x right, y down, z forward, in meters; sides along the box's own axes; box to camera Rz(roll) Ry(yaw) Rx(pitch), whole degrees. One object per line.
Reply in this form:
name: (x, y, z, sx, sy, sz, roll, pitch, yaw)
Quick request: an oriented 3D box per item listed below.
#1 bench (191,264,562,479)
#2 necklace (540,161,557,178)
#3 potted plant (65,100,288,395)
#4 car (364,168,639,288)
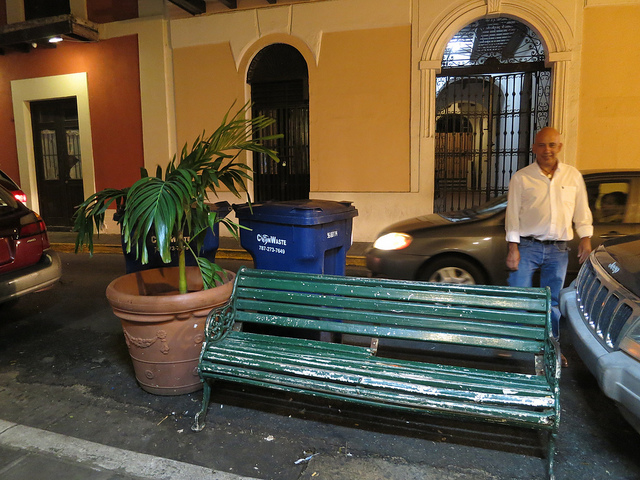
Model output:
bench: (0.472, 1.063, 4.550, 2.820, 1.422, 0.685, 2, 11, 12)
necklace: (2.280, -0.696, 5.348, 0.142, 0.149, 0.065, -1, 10, -4)
potted plant: (-1.386, 0.145, 5.209, 1.793, 2.548, 1.422, 2, 7, 11)
car: (2.288, -0.129, 6.996, 3.293, 1.396, 1.511, 2, 3, 12)
